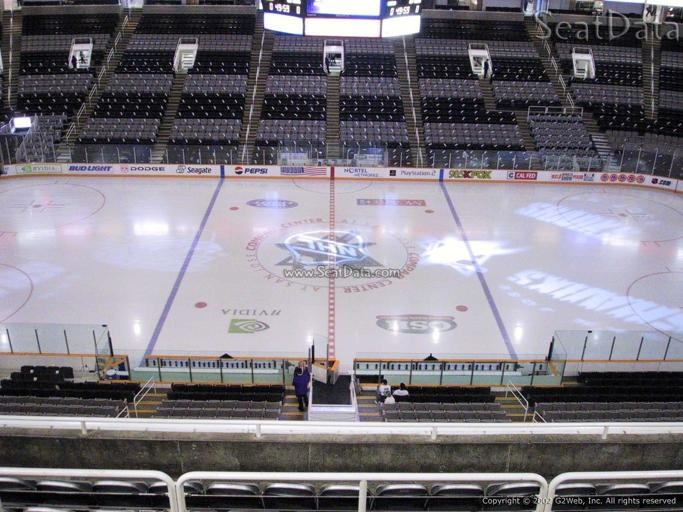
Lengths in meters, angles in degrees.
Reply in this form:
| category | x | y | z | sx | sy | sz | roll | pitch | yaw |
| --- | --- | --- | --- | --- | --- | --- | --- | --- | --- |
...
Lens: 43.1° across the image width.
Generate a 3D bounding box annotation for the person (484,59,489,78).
| category | x | y | z | sx | sy | sz | roll | pitch | yaw |
| --- | --- | --- | --- | --- | --- | --- | --- | --- | --- |
| person | 9.660 | -12.748 | 58.093 | 0.454 | 1.270 | 0.366 | -11 | -26 | 35 |
